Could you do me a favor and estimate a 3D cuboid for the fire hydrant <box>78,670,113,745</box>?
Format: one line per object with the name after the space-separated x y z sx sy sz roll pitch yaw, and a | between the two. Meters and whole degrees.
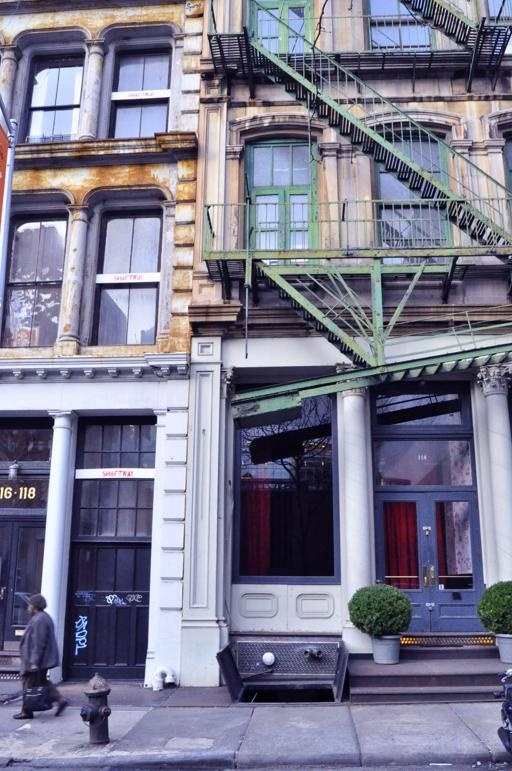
-1.623 3.276 7.564 0.280 0.667 0.460 2 -15 -11 | fire hydrant

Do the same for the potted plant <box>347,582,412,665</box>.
1.720 3.260 10.186 0.845 1.032 0.823 13 -23 -32 | potted plant

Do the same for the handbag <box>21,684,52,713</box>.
-2.590 3.672 8.762 0.362 0.374 0.176 0 -13 -25 | handbag

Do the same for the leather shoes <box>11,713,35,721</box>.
-2.738 3.851 8.692 0.203 0.090 0.089 5 -11 -1 | leather shoes

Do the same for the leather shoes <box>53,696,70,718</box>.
-2.370 3.870 9.012 0.147 0.212 0.448 2 -15 -14 | leather shoes

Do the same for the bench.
0.432 3.892 10.194 1.634 0.726 1.395 -2 -15 3 | bench
